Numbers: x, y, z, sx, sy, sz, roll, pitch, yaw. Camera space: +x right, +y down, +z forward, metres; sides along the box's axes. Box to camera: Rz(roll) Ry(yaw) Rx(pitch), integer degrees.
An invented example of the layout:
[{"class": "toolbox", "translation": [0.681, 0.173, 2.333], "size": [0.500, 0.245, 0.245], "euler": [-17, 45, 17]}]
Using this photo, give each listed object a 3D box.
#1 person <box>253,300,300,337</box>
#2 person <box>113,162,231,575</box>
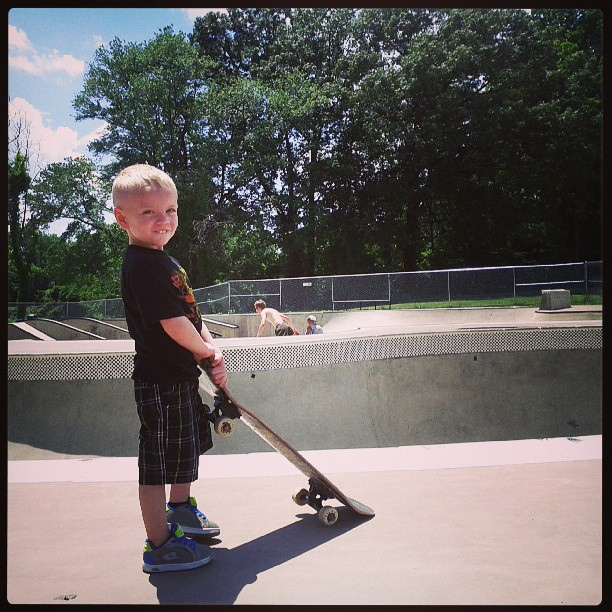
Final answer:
[{"class": "person", "translation": [-0.554, 0.250, 12.786], "size": [0.487, 1.149, 0.505], "euler": [-34, -11, 25]}, {"class": "person", "translation": [-0.594, 0.268, 2.843], "size": [0.465, 1.783, 0.357], "euler": [-2, 6, -21]}]
